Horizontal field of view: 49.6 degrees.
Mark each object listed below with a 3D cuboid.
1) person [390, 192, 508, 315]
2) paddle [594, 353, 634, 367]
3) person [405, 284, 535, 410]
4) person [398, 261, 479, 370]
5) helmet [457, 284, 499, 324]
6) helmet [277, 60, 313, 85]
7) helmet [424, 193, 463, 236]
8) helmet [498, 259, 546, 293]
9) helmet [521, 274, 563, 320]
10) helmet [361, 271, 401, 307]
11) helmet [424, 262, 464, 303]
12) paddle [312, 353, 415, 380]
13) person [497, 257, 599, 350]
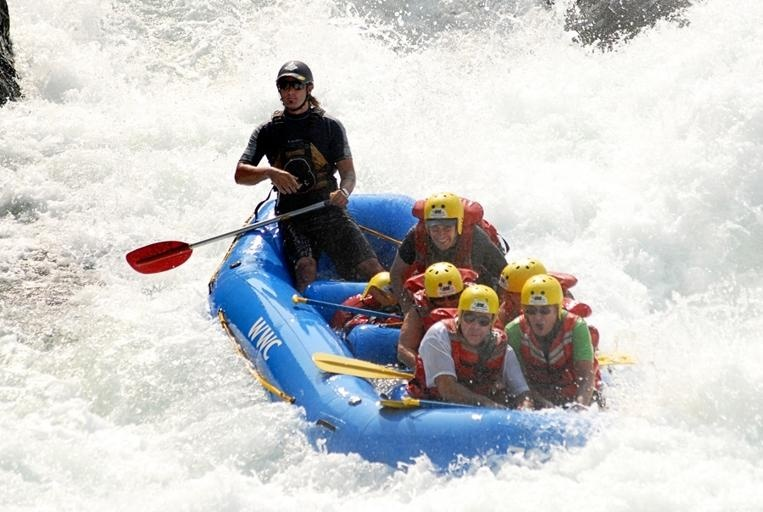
[{"bbox_3d":[0.685,-0.142,8.458,0.963,1.322,0.704,-4,6,9],"label":"person"},{"bbox_3d":[2.233,0.977,7.888,0.203,0.035,0.199,8,14,31],"label":"paddle"},{"bbox_3d":[0.829,0.863,7.348,0.876,1.171,1.171,3,7,-12],"label":"person"},{"bbox_3d":[0.452,0.564,7.684,0.701,0.950,0.415,0,-9,11],"label":"person"},{"bbox_3d":[0.848,0.445,7.447,0.319,0.381,0.429,10,5,-4],"label":"helmet"},{"bbox_3d":[-0.912,-1.934,8.775,0.250,0.240,0.354,7,19,36],"label":"helmet"},{"bbox_3d":[0.641,-0.433,8.399,0.321,0.364,0.407,0,-31,11],"label":"helmet"},{"bbox_3d":[1.372,0.183,7.974,0.477,0.307,0.358,-2,18,-5],"label":"helmet"},{"bbox_3d":[1.456,0.366,7.546,0.415,0.363,0.365,-6,-5,40],"label":"helmet"},{"bbox_3d":[-0.006,0.335,8.564,0.353,0.331,0.268,35,-9,-11],"label":"helmet"},{"bbox_3d":[0.572,0.202,7.903,0.379,0.274,0.491,-12,7,-1],"label":"helmet"},{"bbox_3d":[-0.185,1.018,7.605,0.812,0.066,0.182,9,44,-10],"label":"paddle"},{"bbox_3d":[1.410,0.390,8.034,0.722,0.349,0.972,-2,14,-3],"label":"person"}]
